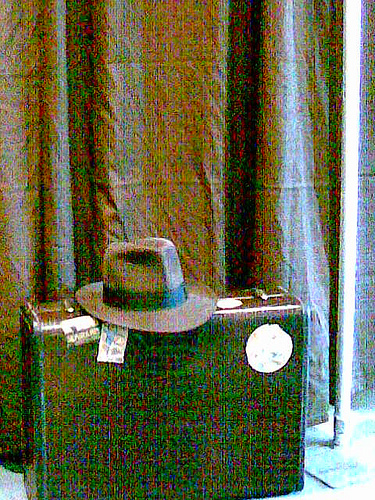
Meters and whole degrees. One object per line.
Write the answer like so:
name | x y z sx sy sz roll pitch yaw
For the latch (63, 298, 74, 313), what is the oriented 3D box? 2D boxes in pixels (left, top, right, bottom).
latch | -0.251 0.118 1.930 0.015 0.030 0.007 -16 -31 2

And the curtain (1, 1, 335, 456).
curtain | -0.077 -0.057 2.012 0.726 1.294 0.091 -3 9 -9

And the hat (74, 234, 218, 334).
hat | -0.062 0.059 1.938 0.202 0.107 0.214 8 15 -4
